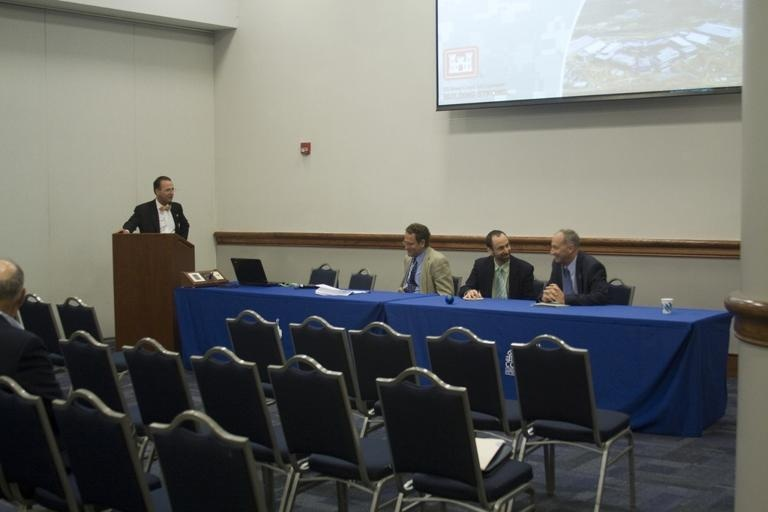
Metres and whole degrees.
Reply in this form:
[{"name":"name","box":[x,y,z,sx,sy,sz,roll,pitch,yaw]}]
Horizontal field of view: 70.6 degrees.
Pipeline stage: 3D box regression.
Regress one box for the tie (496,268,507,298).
[{"name":"tie","box":[1.203,0.282,5.602,0.140,0.278,0.064,-2,-6,30]}]

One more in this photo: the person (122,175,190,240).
[{"name":"person","box":[-2.848,-0.618,6.915,0.616,0.762,0.737,1,9,7]}]

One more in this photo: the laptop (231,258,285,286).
[{"name":"laptop","box":[-1.539,0.196,6.538,0.399,0.398,0.296,9,30,24]}]

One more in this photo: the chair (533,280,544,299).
[{"name":"chair","box":[1.506,0.333,5.448,0.141,0.200,0.165,-3,-9,27]}]

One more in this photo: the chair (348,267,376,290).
[{"name":"chair","box":[-0.245,0.298,6.726,0.255,0.490,0.283,-1,-7,31]}]
